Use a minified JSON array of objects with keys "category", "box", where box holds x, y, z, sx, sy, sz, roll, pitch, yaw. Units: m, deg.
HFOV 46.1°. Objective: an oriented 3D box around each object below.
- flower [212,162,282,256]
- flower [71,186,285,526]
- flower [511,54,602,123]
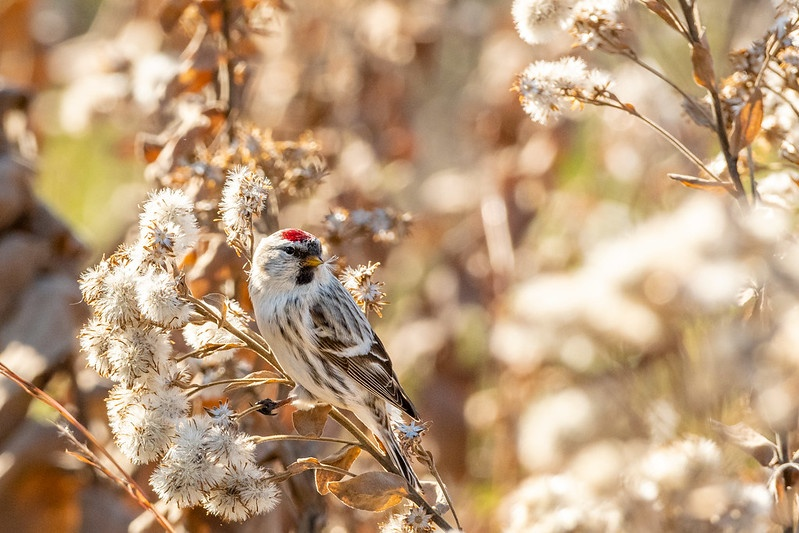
[{"category":"flower","box":[-0.531,-0.194,3.093,0.179,0.327,0.179,8,6,24]},{"category":"flower","box":[-0.706,0.311,2.927,0.503,0.732,0.859,-16,46,-11]},{"category":"flower","box":[0.467,-0.532,2.937,0.189,0.181,0.245,30,54,30]}]
